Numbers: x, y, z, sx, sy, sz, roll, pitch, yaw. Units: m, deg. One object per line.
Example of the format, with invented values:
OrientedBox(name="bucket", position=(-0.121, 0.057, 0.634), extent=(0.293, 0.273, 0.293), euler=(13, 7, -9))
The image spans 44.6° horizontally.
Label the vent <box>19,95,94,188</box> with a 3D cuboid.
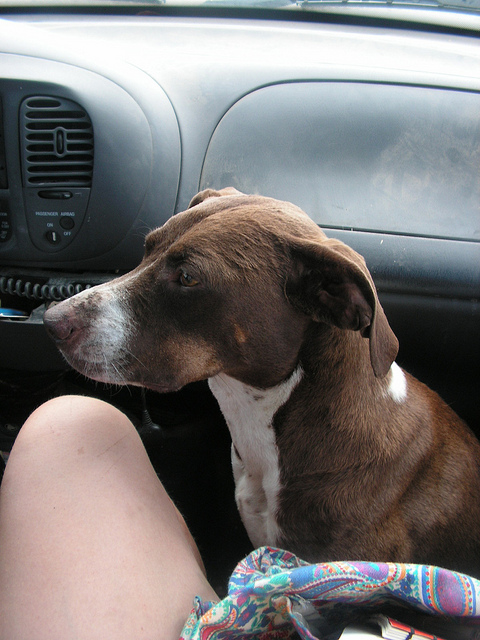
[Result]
OrientedBox(name="vent", position=(-0.669, -0.633, 2.093), extent=(0.268, 0.301, 0.152), euler=(2, 41, 9))
